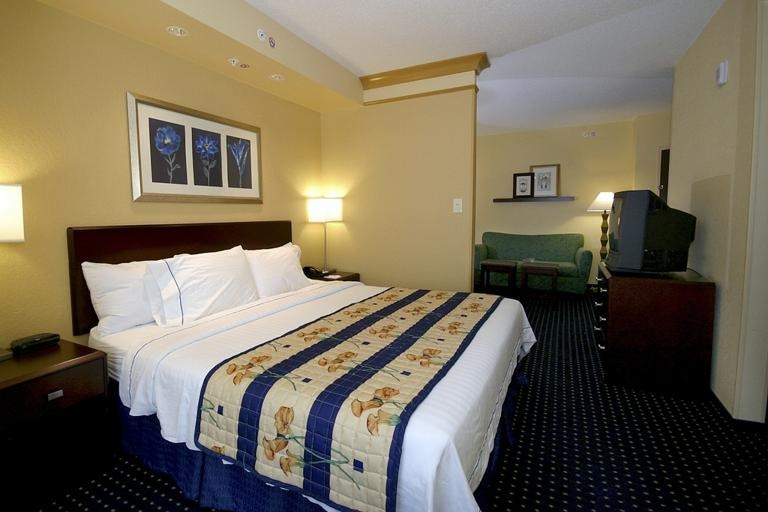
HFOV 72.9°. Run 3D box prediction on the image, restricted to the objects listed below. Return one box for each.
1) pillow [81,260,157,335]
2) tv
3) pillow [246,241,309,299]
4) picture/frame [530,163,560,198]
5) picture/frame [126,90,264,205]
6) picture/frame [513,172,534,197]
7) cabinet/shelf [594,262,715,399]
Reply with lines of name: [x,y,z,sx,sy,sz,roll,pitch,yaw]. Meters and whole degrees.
pillow: [-2.031,0.341,3.980,0.268,0.473,0.548,2,4,23]
tv: [2.387,-0.200,4.801,0.700,0.761,0.761,1,4,17]
pillow: [-0.992,0.127,4.815,0.140,0.479,0.491,-33,-16,37]
picture/frame: [2.508,-1.151,8.031,0.524,0.617,0.044,4,10,33]
picture/frame: [-1.737,-0.965,4.659,0.047,0.741,1.212,0,2,35]
picture/frame: [2.209,-1.110,8.175,0.395,0.497,0.056,2,0,33]
cabinet/shelf: [2.460,0.603,4.771,0.828,1.020,1.465,0,2,24]
